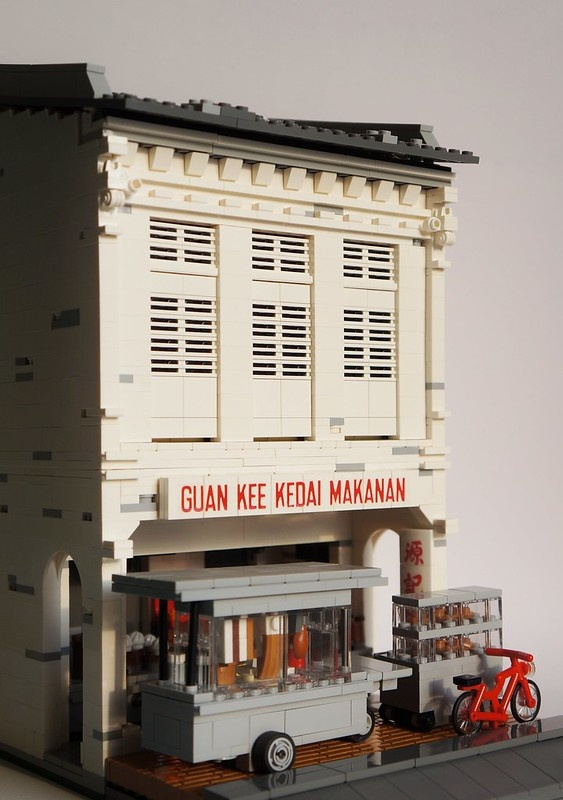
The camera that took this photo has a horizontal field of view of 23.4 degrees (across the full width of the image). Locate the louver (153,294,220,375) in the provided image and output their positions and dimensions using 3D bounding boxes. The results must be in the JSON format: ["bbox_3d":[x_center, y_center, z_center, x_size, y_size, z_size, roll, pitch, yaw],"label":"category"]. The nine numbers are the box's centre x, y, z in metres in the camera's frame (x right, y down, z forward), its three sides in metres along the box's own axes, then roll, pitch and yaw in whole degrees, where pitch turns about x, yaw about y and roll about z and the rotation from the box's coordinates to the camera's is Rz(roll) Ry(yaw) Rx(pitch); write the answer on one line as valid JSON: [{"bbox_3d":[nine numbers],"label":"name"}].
[{"bbox_3d":[-1.042,-0.689,14.485,0.717,0.989,0.063,-1,-1,-35],"label":"louver"}]

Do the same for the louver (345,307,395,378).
[{"bbox_3d":[0.993,-0.674,16.024,0.618,0.785,0.068,-11,5,-36],"label":"louver"}]

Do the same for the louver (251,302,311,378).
[{"bbox_3d":[-0.043,-0.663,15.224,0.648,0.846,0.072,8,-11,-38],"label":"louver"}]
